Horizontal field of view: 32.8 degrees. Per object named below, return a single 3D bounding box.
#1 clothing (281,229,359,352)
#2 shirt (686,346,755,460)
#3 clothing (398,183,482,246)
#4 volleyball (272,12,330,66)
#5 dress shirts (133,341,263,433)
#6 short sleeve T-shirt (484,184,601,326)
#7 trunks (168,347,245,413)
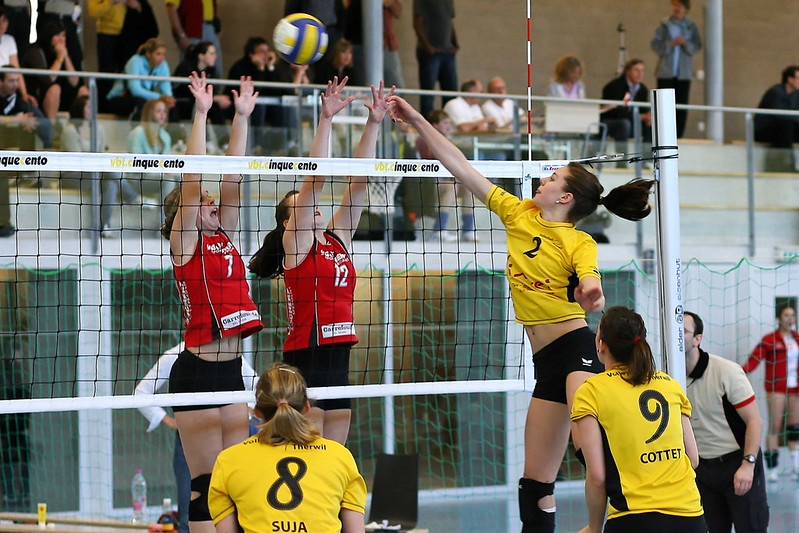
[{"bbox_3d":[-0.768,0.225,13.381,0.775,1.257,0.771,-2,-11,-12],"label":"clothing"},{"bbox_3d":[3.262,1.436,13.817,0.352,0.931,0.837,-17,-7,-37],"label":"shirt"},{"bbox_3d":[0.457,-0.628,16.271,0.760,0.803,0.029,-2,8,-5],"label":"clothing"},{"bbox_3d":[-0.986,-2.220,13.814,0.509,0.506,0.504,-20,-18,4],"label":"volleyball"},{"bbox_3d":[-1.998,1.226,13.521,1.127,1.592,0.556,3,-3,-24],"label":"dress shirts"},{"bbox_3d":[1.404,-0.134,13.177,1.534,1.250,0.488,2,-5,38],"label":"short sleeve T-shirt"},{"bbox_3d":[-1.698,1.179,13.194,0.478,0.631,0.655,26,-12,-35],"label":"trunks"}]
